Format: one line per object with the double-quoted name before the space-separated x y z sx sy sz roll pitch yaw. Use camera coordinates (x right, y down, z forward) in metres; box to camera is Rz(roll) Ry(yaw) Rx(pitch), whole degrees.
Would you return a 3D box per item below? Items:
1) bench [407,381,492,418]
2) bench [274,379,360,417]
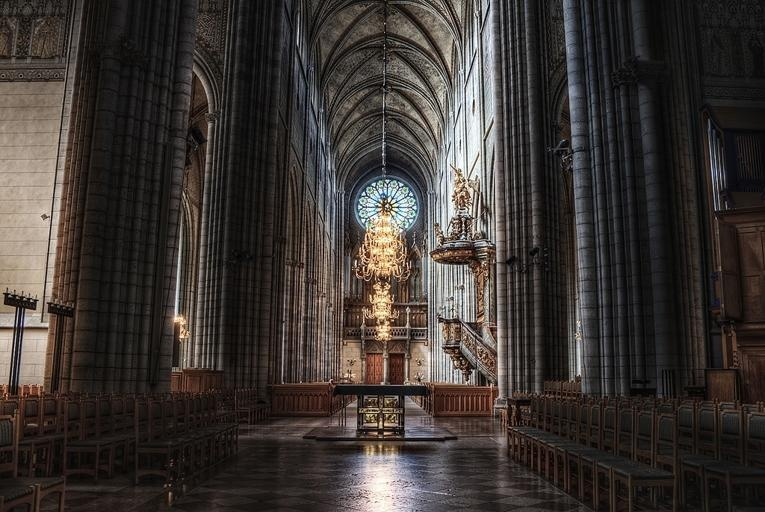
"bench" 2.805 5.066 24.398 2.134 1.047 0.589 -1 -5 13
"bench" -2.889 5.072 24.603 2.189 1.079 0.465 1 -5 -12
